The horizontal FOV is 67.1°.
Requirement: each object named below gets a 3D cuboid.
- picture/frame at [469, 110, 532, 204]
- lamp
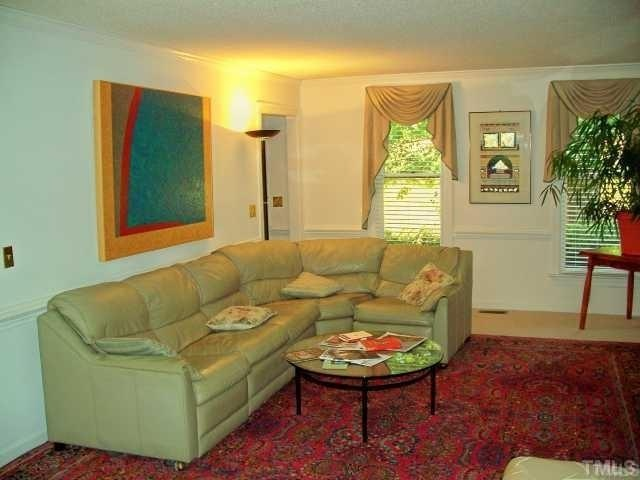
[{"bbox_3d":[2.341,-1.035,6.287,0.889,1.192,0.023,-3,7,-11],"label":"picture/frame"},{"bbox_3d":[-0.687,-0.624,6.028,0.467,1.414,0.461,0,4,32],"label":"lamp"}]
